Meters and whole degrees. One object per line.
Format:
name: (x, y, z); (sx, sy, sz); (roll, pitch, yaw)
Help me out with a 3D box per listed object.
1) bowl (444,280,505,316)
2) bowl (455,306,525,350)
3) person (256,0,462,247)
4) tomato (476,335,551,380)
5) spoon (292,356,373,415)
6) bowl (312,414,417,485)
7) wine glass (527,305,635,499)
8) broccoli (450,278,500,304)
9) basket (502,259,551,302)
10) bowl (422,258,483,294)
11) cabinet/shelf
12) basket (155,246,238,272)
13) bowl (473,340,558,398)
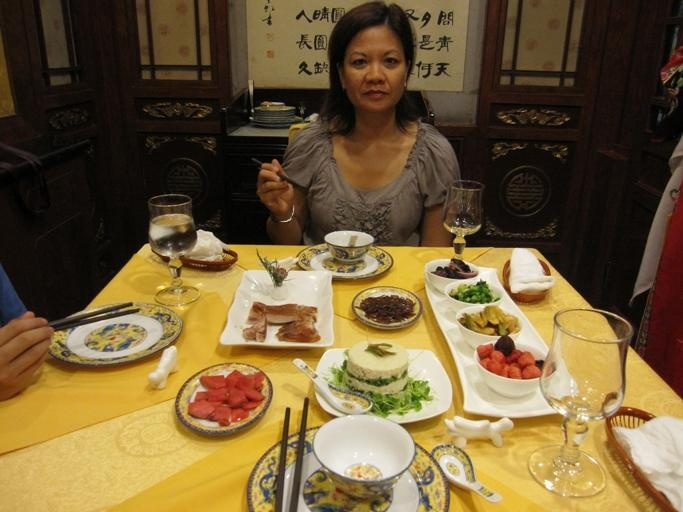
bowl: (0.491, 0.140, 1.842); (0.138, 0.071, 0.145); (-1, 18, 0)
bowl: (0.507, 0.231, 1.648); (0.157, 0.089, 0.163); (-1, 19, 0)
person: (0.166, -0.716, 2.740); (1.024, 1.282, 0.555); (7, 28, 12)
tomato: (0.513, 0.323, 1.468); (0.131, 0.077, 0.138); (2, 14, 3)
spoon: (-0.032, 0.349, 1.434); (0.099, 0.049, 0.280); (-11, 27, -43)
bowl: (0.064, 0.483, 1.189); (0.160, 0.065, 0.164); (-1, 23, 0)
wine glass: (0.626, 0.405, 1.263); (0.222, 0.498, 0.234); (11, 29, 21)
broccoli: (0.505, 0.138, 1.836); (0.120, 0.067, 0.118); (-14, 20, -42)
basket: (0.734, 0.100, 1.979); (0.165, 0.073, 0.188); (-3, 48, 4)
bowl: (0.446, 0.066, 1.987); (0.158, 0.075, 0.161); (0, 21, 0)
cabinet/shelf: (-0.628, -0.692, 4.600); (0.887, 1.589, 0.960); (-3, 5, 0)
basket: (-0.578, 0.024, 2.092); (0.207, 0.038, 0.149); (6, 23, 5)
bowl: (0.501, 0.304, 1.453); (0.170, 0.087, 0.174); (1, 23, 0)
